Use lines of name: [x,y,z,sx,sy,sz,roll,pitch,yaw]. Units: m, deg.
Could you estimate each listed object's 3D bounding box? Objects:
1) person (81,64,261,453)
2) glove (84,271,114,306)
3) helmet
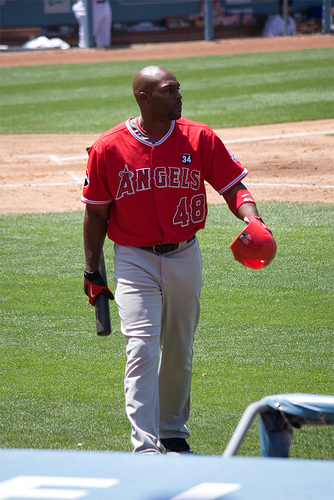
person: [0.047,0.063,4.328,0.656,1.733,0.601,-7,14,-22]
glove: [-0.324,0.170,4.479,0.101,0.083,0.200,-20,36,-34]
helmet: [0.374,-0.021,4.283,0.187,0.245,0.170,-1,13,2]
